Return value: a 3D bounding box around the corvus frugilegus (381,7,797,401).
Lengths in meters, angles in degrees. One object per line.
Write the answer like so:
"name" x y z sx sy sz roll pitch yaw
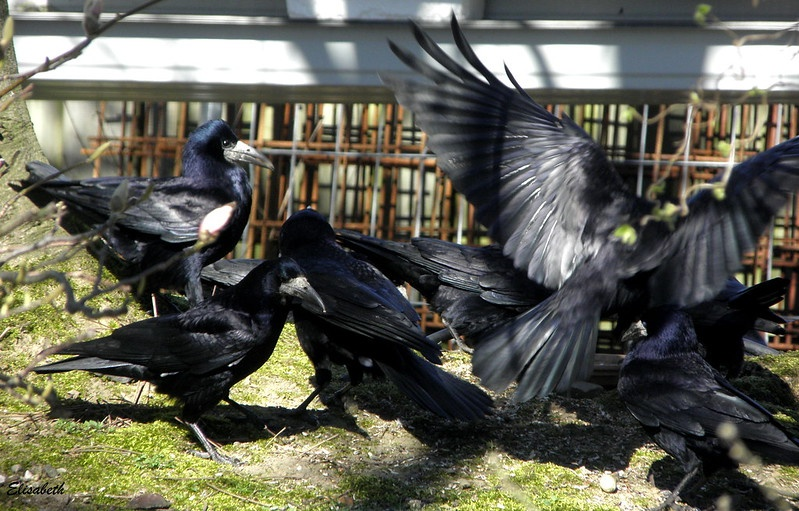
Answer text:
"corvus frugilegus" 1.250 -0.308 7.701 2.481 2.497 1.026 4 11 24

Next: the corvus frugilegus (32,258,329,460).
"corvus frugilegus" -1.162 0.582 7.546 2.241 1.384 0.978 6 12 -12

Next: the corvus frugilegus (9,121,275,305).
"corvus frugilegus" -1.875 -0.382 8.682 2.071 1.477 0.809 3 23 9
